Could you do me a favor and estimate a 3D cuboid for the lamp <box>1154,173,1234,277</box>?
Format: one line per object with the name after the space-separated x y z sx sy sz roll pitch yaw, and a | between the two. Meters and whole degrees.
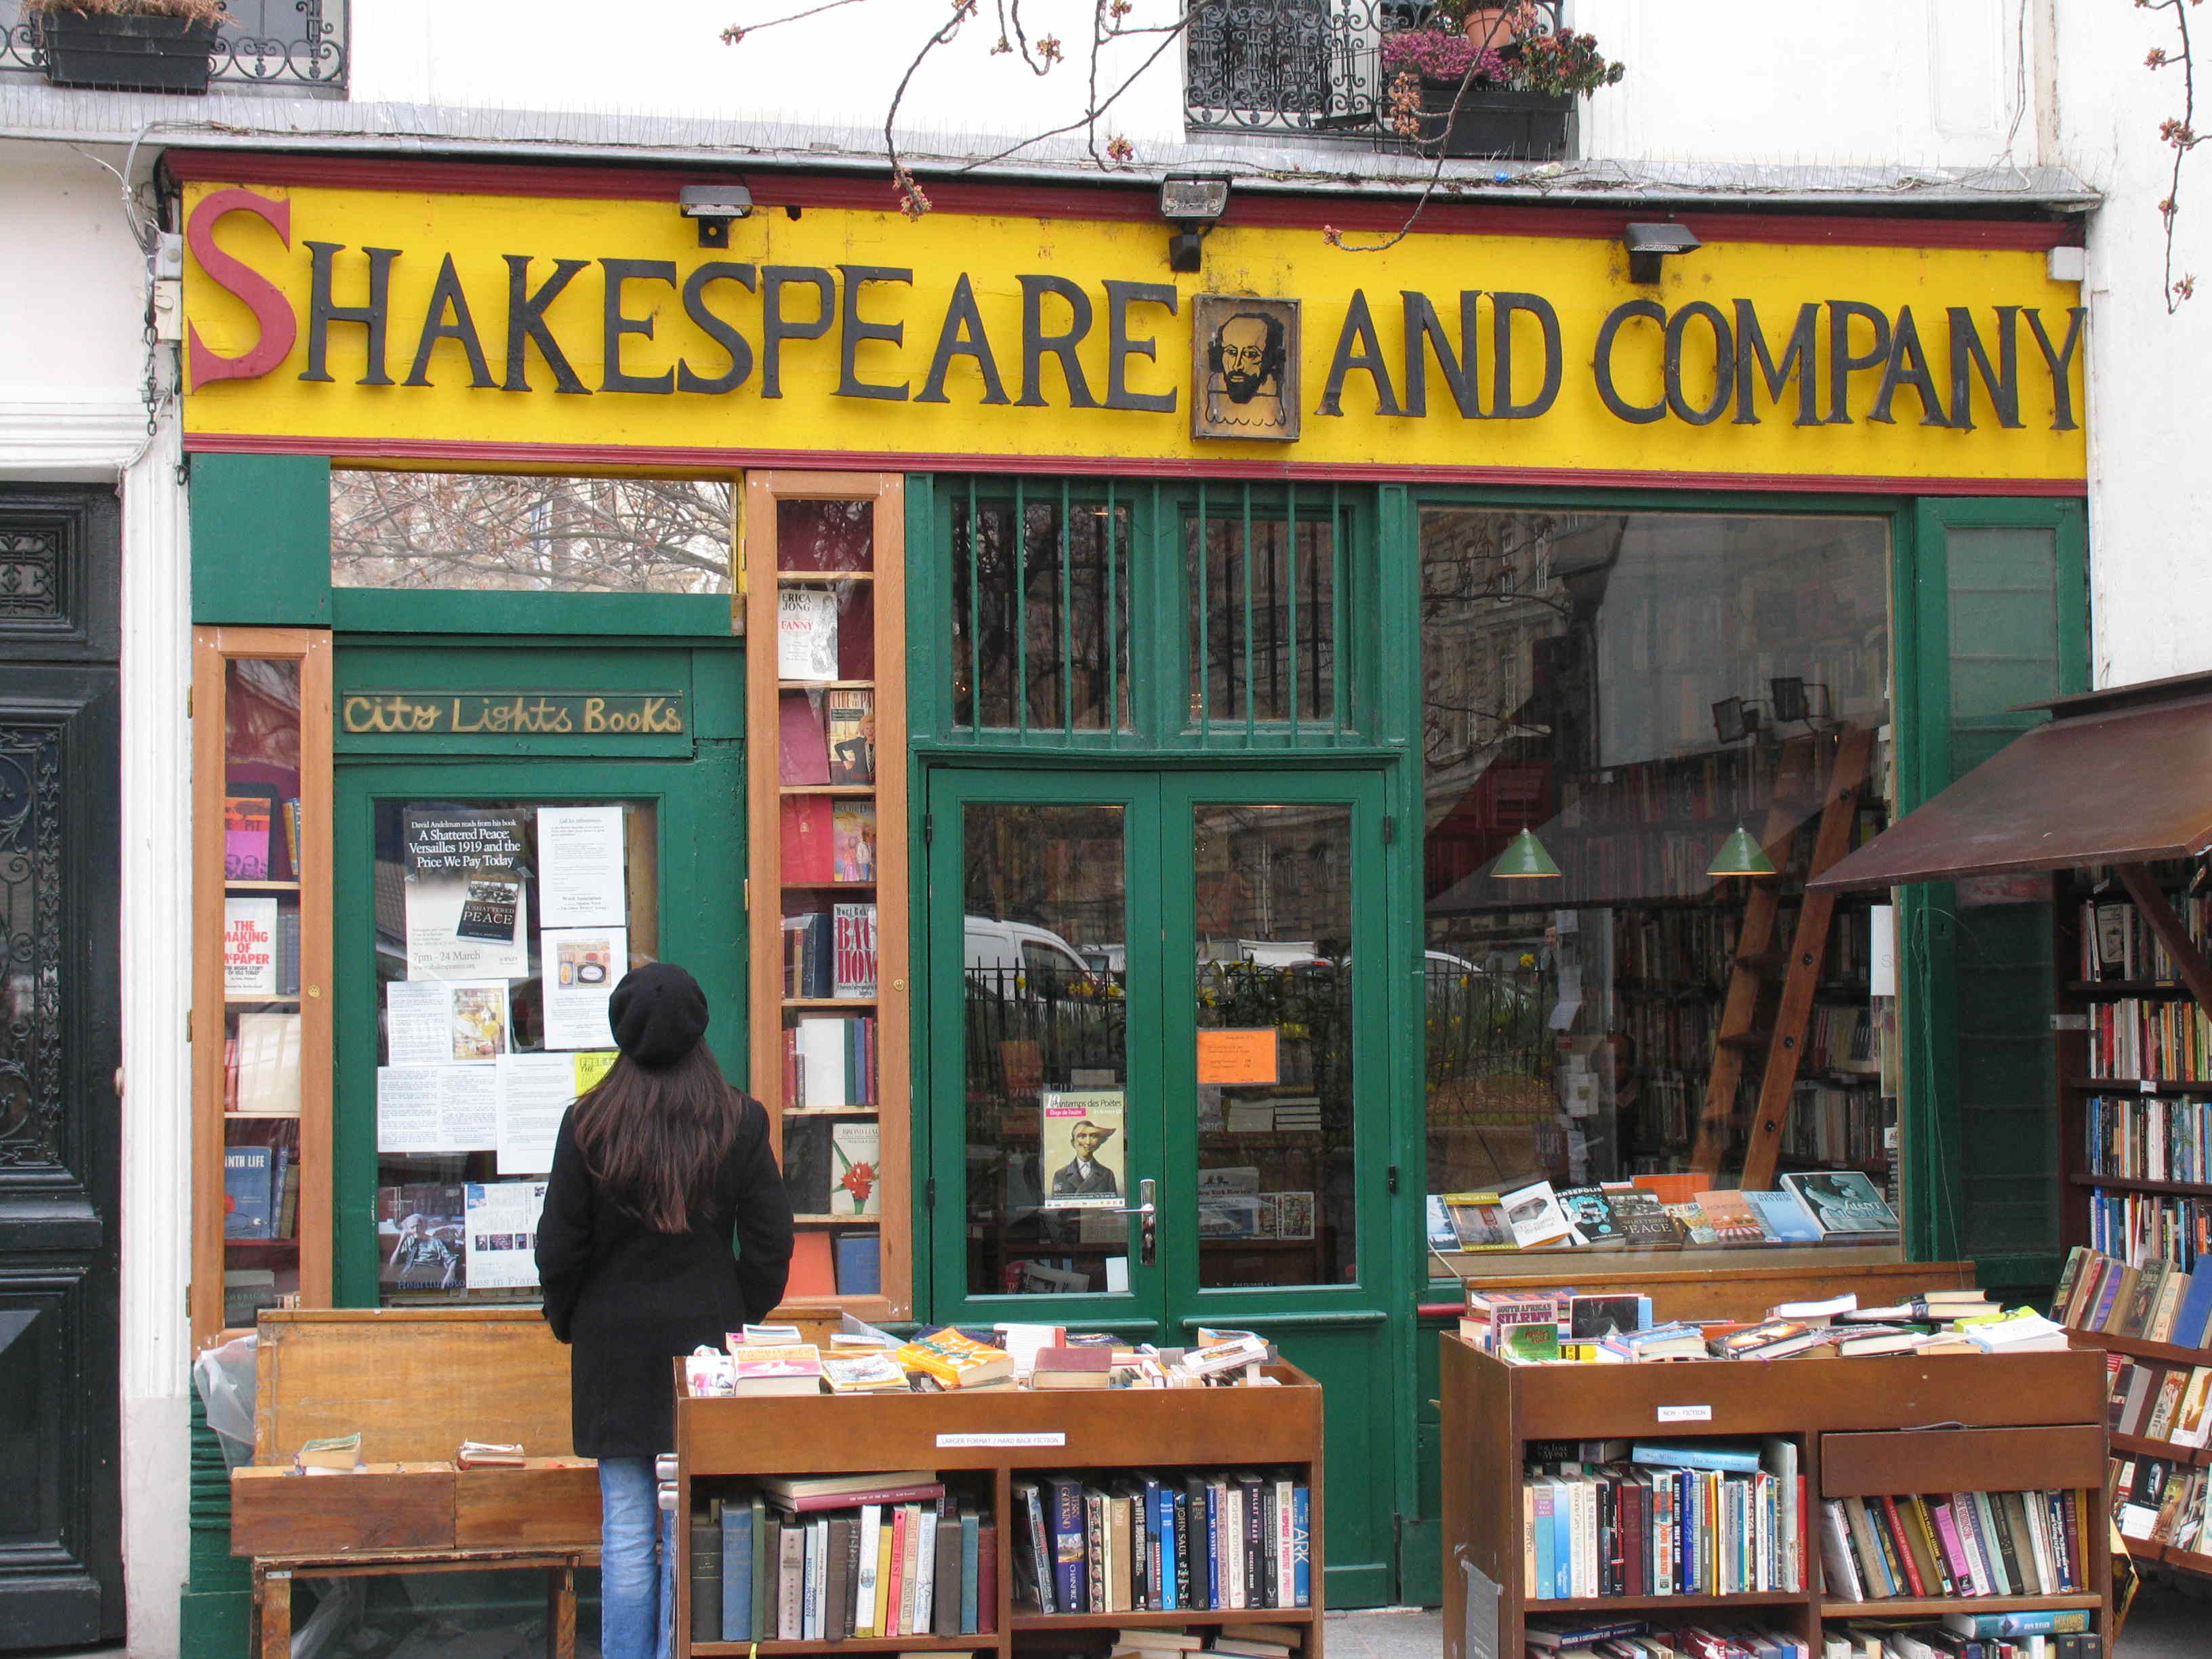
0.279 -2.143 14.517 0.285 0.363 0.262 1 -4 -6 | lamp

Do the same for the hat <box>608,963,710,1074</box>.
-1.432 0.586 12.831 0.286 0.336 0.151 -1 -3 -10 | hat

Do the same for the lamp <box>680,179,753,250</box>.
-1.386 -2.158 14.252 0.244 0.232 0.120 -1 -3 -9 | lamp

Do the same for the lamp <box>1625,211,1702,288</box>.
2.009 -2.099 14.752 0.279 0.224 0.182 -2 -3 5 | lamp

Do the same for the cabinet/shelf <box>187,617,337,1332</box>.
-2.933 0.525 14.014 0.477 2.440 0.132 0 -3 -17 | cabinet/shelf
